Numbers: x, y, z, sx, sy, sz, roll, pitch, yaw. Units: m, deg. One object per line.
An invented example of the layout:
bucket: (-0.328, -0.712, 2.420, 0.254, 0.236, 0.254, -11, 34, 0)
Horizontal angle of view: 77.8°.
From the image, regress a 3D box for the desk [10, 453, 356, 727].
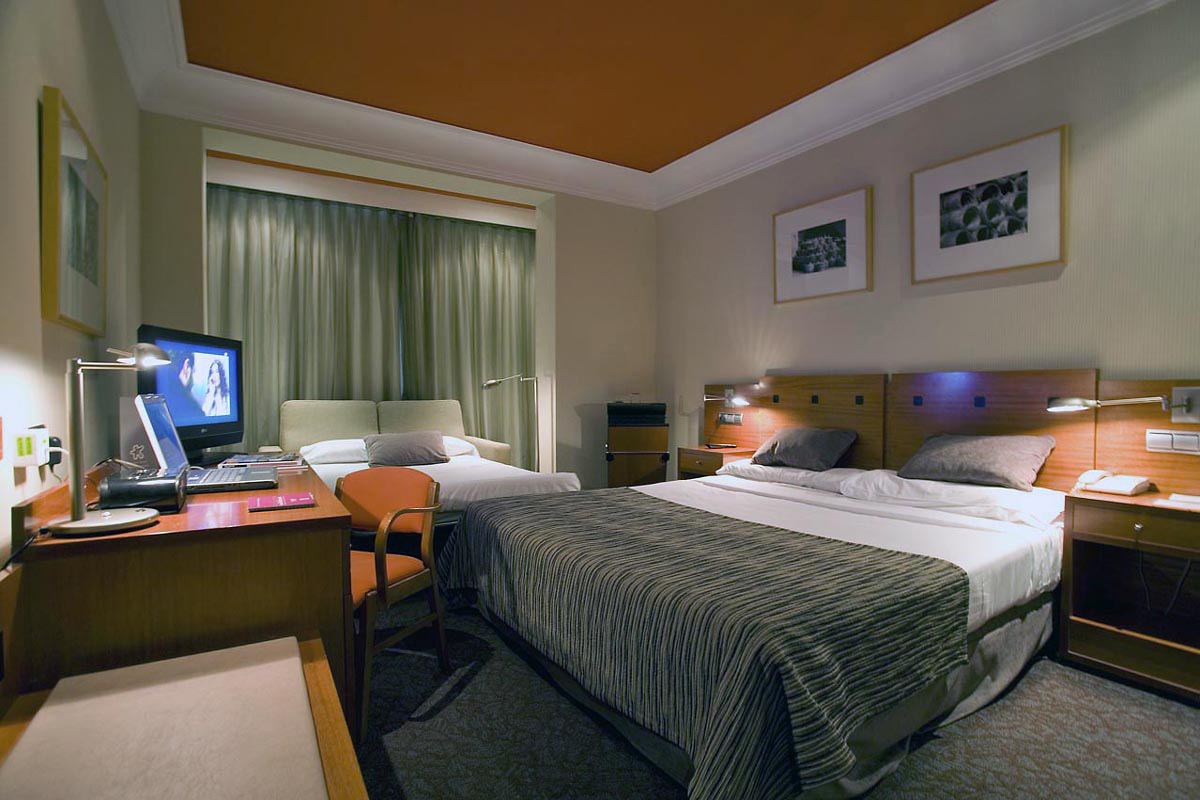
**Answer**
desk: (-1.477, 0.681, 2.674, 1.094, 0.704, 0.623, 1, 7, 2)

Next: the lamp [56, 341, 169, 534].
lamp: (-1.789, 0.133, 2.745, 0.314, 0.664, 0.342, -1, 4, -10)

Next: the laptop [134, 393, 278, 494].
laptop: (-1.665, 0.207, 3.178, 0.445, 0.338, 0.452, -1, 3, -20)

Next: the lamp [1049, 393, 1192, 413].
lamp: (2.679, 0.019, 3.891, 0.363, 0.078, 0.192, 0, 2, 42)

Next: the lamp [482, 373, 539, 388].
lamp: (-0.842, -0.173, 6.864, 0.299, 0.102, 0.160, -2, -6, -6)

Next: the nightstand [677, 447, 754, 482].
nightstand: (0.839, 0.403, 5.617, 0.277, 0.357, 0.377, 1, 0, -24)
